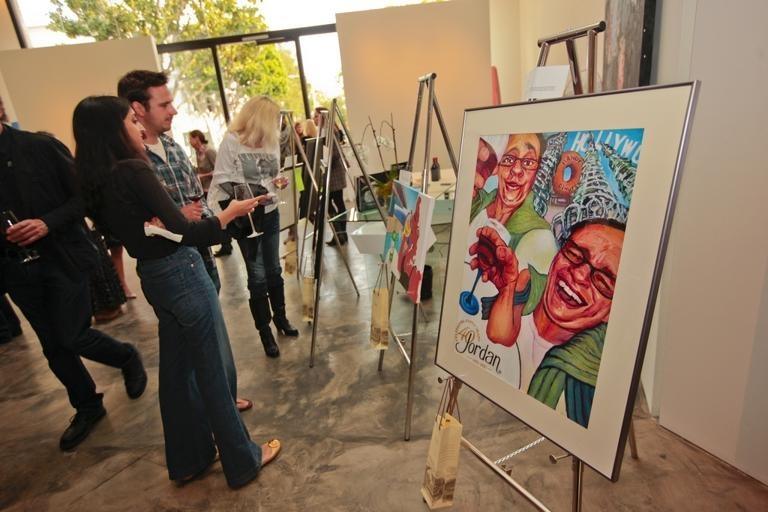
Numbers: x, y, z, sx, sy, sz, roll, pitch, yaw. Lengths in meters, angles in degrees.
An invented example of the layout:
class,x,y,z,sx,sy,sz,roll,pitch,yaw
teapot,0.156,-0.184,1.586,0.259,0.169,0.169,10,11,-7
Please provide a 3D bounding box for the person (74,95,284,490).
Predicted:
class,x,y,z,sx,sy,sz,roll,pitch,yaw
person,-1.046,0.239,2.590,0.755,2.046,0.404,-2,20,5

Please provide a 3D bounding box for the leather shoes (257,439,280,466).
class,x,y,z,sx,sy,sz,roll,pitch,yaw
leather shoes,-0.659,1.116,2.897,0.055,0.068,0.169,10,27,11

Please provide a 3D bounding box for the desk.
class,x,y,z,sx,sy,sz,roll,pitch,yaw
desk,-0.239,-0.028,4.550,0.461,0.603,0.851,-5,27,-4

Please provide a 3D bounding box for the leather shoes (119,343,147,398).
class,x,y,z,sx,sy,sz,roll,pitch,yaw
leather shoes,-1.743,0.791,3.551,0.137,0.382,0.149,-15,-4,22

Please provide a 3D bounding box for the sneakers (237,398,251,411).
class,x,y,z,sx,sy,sz,roll,pitch,yaw
sneakers,-0.916,0.966,3.297,0.059,0.064,0.152,-9,-2,-21

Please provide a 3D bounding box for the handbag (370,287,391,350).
class,x,y,z,sx,sy,sz,roll,pitch,yaw
handbag,-0.035,0.376,3.083,0.127,0.393,0.130,2,20,15

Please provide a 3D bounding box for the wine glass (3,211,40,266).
class,x,y,z,sx,sy,sz,roll,pitch,yaw
wine glass,-2.097,-0.099,2.949,0.122,0.405,0.113,-16,37,-28

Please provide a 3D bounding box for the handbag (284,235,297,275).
class,x,y,z,sx,sy,sz,roll,pitch,yaw
handbag,-0.926,-0.013,4.982,0.147,0.093,0.458,-15,31,-1
